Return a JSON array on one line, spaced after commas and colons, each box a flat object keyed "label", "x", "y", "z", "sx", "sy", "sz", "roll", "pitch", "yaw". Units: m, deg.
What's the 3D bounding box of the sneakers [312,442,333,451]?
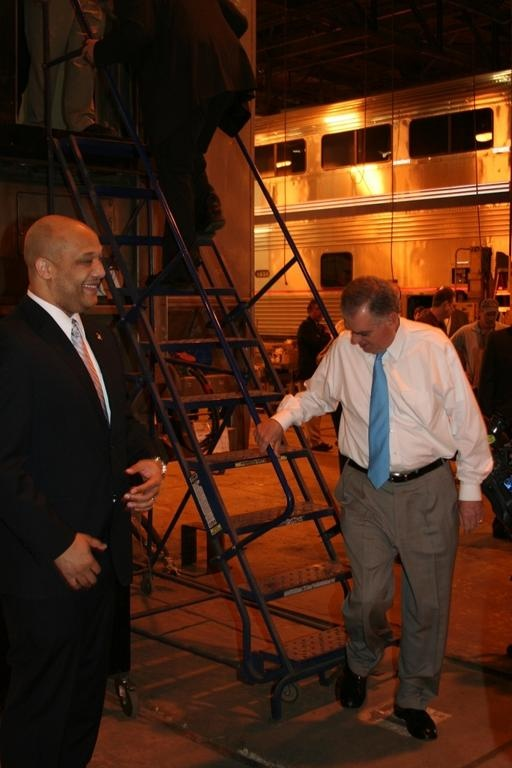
[{"label": "sneakers", "x": 1.059, "y": 0.972, "z": 10.318, "sx": 0.338, "sy": 0.131, "sz": 0.119, "roll": 0, "pitch": 1, "yaw": 24}]

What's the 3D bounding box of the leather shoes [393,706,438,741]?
[{"label": "leather shoes", "x": 0.669, "y": 1.388, "z": 2.802, "sx": 0.083, "sy": 0.085, "sz": 0.215, "roll": -3, "pitch": 6, "yaw": -24}]

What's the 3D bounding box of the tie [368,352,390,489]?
[{"label": "tie", "x": 0.506, "y": 0.151, "z": 2.743, "sx": 0.090, "sy": 0.539, "sz": 0.105, "roll": -1, "pitch": -1, "yaw": 9}]

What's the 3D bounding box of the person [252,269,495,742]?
[{"label": "person", "x": 0.525, "y": 0.514, "z": 2.851, "sx": 0.828, "sy": 1.916, "sz": 0.471, "roll": -1, "pitch": -1, "yaw": 35}]
